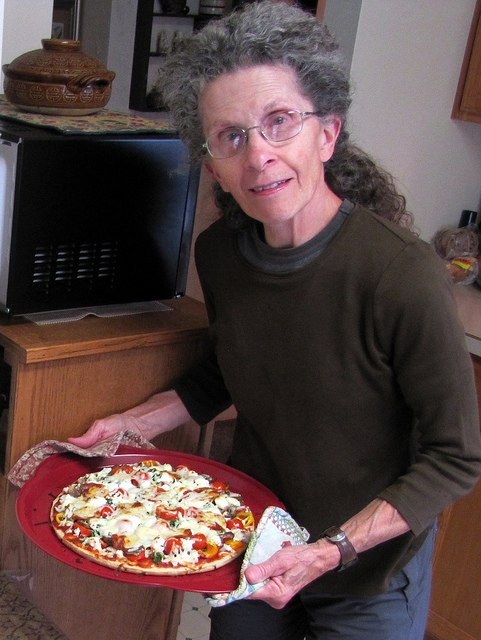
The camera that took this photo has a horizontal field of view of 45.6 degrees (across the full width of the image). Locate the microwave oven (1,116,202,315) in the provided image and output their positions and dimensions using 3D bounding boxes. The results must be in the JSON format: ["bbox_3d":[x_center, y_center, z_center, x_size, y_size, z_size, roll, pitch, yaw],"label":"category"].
[{"bbox_3d":[-0.261,-0.220,1.140,0.403,0.324,0.357,-6,22,-23],"label":"microwave oven"}]

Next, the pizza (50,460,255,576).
[{"bbox_3d":[-0.130,0.281,0.838,0.299,0.033,0.281,8,8,12],"label":"pizza"}]

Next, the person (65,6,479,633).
[{"bbox_3d":[0.074,-0.061,0.881,0.429,0.774,0.619,1,11,-39],"label":"person"}]

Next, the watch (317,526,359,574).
[{"bbox_3d":[0.118,0.287,0.703,0.046,0.060,0.029,9,9,11],"label":"watch"}]
